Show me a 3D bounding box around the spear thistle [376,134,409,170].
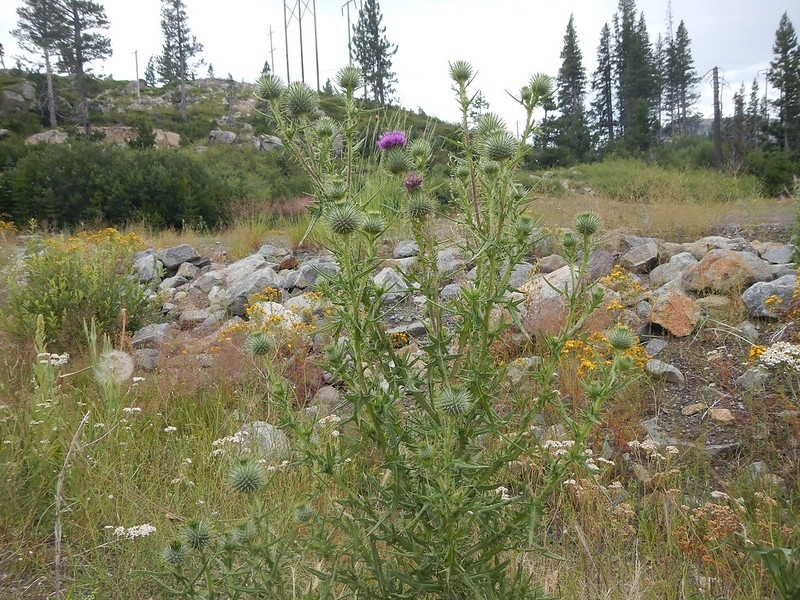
[{"bbox_3d":[-0.043,-1.092,5.118,0.213,0.270,0.330,-1,13,-1],"label":"spear thistle"}]
